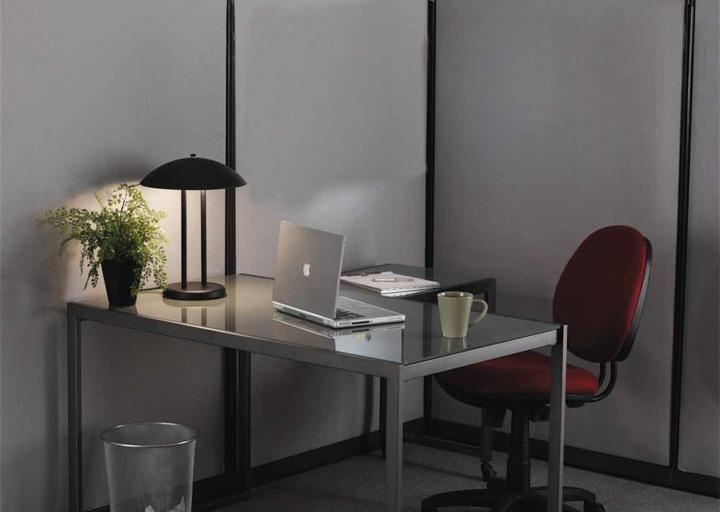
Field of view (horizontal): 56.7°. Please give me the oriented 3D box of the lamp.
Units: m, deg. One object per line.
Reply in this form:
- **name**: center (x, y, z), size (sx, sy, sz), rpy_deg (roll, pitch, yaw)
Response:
- **lamp**: center (-0.713, -0.129, 2.837), size (0.503, 0.698, 0.515), rpy_deg (4, 5, 43)

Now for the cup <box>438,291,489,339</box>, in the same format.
- **cup**: center (0.338, 0.200, 2.212), size (0.182, 0.140, 0.122), rpy_deg (1, -1, -39)

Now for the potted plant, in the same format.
- **potted plant**: center (-0.956, -0.053, 2.602), size (0.423, 0.459, 0.512), rpy_deg (0, -1, 11)

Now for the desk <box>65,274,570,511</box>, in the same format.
- **desk**: center (-0.186, 0.578, 2.469), size (1.722, 0.860, 0.815), rpy_deg (3, 5, 29)

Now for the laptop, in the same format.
- **laptop**: center (-0.076, 0.055, 2.338), size (0.337, 0.373, 0.463), rpy_deg (-6, 11, -35)
